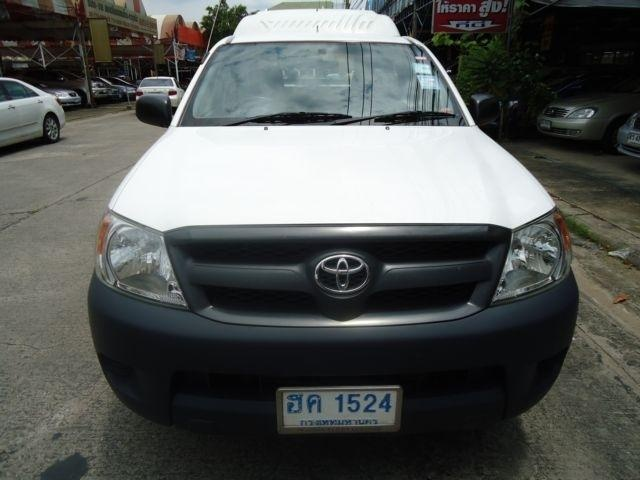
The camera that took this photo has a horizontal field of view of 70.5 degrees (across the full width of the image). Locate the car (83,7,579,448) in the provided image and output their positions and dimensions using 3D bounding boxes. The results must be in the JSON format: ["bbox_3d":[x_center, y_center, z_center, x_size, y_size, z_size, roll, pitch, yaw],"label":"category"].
[{"bbox_3d":[0.053,-0.453,3.080,1.653,1.549,3.201,0,16,0],"label":"car"}]
